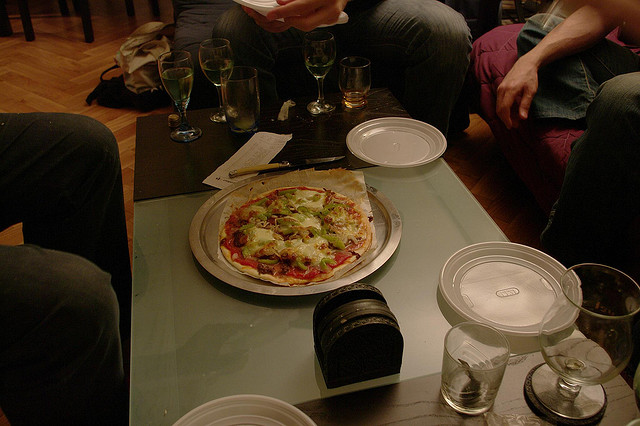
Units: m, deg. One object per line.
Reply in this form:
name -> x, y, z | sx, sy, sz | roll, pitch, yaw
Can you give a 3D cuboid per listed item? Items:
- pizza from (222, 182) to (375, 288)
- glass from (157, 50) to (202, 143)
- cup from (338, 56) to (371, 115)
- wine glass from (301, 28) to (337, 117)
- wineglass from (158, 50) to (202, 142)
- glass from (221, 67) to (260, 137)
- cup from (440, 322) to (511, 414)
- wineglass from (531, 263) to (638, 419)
pizza -> -0.061, 0.044, 1.194 | 0.263, 0.031, 0.275 | 1, 44, 5
glass -> -0.465, -0.387, 1.592 | 0.109, 0.274, 0.108 | -10, 36, -16
cup -> 0.126, -0.470, 1.715 | 0.111, 0.173, 0.110 | -2, 40, 2
wine glass -> 0.001, -0.500, 1.706 | 0.120, 0.254, 0.290 | -1, 48, -3
wineglass -> -0.464, -0.386, 1.592 | 0.120, 0.279, 0.125 | 1, 34, 1
glass -> -0.271, -0.373, 1.624 | 0.135, 0.217, 0.136 | -5, 12, -9
cup -> 0.313, 0.318, 0.979 | 0.118, 0.143, 0.129 | -3, 31, 2
wineglass -> 0.532, 0.269, 0.958 | 0.157, 0.254, 0.157 | -5, 47, 7
